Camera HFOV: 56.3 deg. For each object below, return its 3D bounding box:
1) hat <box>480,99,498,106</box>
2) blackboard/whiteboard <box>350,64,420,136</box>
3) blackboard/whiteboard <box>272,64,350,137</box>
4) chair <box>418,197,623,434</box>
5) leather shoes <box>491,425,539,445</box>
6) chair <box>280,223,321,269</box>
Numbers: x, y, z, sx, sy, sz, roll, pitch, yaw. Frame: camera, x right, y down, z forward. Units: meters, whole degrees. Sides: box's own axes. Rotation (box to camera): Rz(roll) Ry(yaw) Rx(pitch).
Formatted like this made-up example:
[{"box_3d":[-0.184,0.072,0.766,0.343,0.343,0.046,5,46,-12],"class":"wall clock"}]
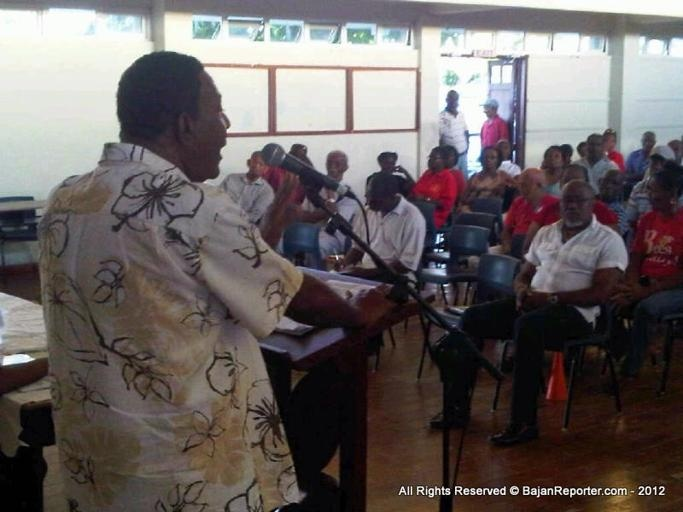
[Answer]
[{"box_3d":[2.284,-2.378,9.830,0.198,0.098,0.139,2,1,4],"class":"hat"},{"box_3d":[0.558,-2.235,9.002,1.090,0.801,0.111,-2,7,-25],"class":"blackboard/whiteboard"},{"box_3d":[-0.418,-2.095,8.558,0.962,0.772,0.070,-2,15,-10],"class":"blackboard/whiteboard"},{"box_3d":[1.067,0.388,3.784,1.092,1.163,0.748,-12,17,-43],"class":"chair"},{"box_3d":[0.967,0.997,3.588,0.287,0.124,0.097,1,0,-15],"class":"leather shoes"},{"box_3d":[-0.337,-0.155,5.874,0.380,0.400,0.300,-9,12,32],"class":"chair"}]
